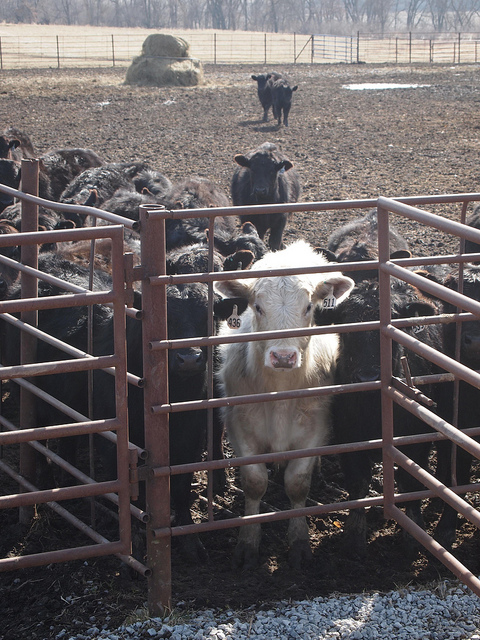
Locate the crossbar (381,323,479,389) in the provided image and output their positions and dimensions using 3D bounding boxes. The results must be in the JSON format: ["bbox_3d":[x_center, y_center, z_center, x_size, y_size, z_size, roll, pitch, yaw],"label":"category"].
[{"bbox_3d":[0.992,0.197,4.800,0.112,0.126,1.095,13,10,-26],"label":"crossbar"}]

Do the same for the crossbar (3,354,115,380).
[{"bbox_3d":[-0.736,0.197,3.785,0.473,0.076,0.167,-5,11,-22],"label":"crossbar"}]

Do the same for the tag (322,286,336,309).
[{"bbox_3d":[0.504,-0.120,5.244,0.076,0.124,0.248,0,10,6],"label":"tag"}]

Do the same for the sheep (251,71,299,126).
[{"bbox_3d":[0.793,-5.023,20.960,0.569,0.891,1.774,1,14,-11],"label":"sheep"}]

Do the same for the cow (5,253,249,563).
[{"bbox_3d":[-0.695,0.431,5.789,1.891,1.511,0.978,7,13,37],"label":"cow"}]

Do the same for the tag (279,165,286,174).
[{"bbox_3d":[0.562,-2.021,12.352,0.060,0.085,0.144,20,-17,3],"label":"tag"}]

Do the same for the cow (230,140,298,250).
[{"bbox_3d":[0.409,-1.668,12.665,0.815,1.306,2.449,2,7,5],"label":"cow"}]

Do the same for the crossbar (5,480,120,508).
[{"bbox_3d":[-0.733,0.739,3.847,0.493,0.094,0.110,-6,11,-28],"label":"crossbar"}]

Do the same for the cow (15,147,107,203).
[{"bbox_3d":[-2.233,-1.975,11.947,1.293,0.672,0.372,-17,36,-36],"label":"cow"}]
